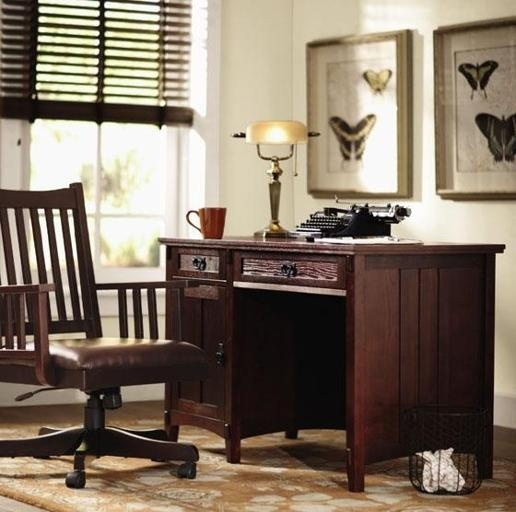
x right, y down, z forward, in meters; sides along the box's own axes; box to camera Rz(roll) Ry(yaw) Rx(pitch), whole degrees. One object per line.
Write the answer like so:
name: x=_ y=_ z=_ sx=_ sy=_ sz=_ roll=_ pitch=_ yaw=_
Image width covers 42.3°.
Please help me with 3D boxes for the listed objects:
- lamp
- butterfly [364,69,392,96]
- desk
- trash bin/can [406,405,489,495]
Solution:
lamp: x=0.062 y=-0.288 z=2.527 sx=0.340 sy=0.443 sz=0.251 roll=0 pitch=4 yaw=-3
butterfly: x=0.536 y=-0.779 z=2.992 sx=0.107 sy=0.110 sz=0.059 roll=3 pitch=3 yaw=22
desk: x=0.216 y=0.247 z=2.110 sx=0.584 sy=0.917 sz=0.907 roll=-3 pitch=6 yaw=-33
trash bin/can: x=0.540 y=0.564 z=1.978 sx=0.220 sy=0.258 sz=0.233 roll=1 pitch=-5 yaw=-4
